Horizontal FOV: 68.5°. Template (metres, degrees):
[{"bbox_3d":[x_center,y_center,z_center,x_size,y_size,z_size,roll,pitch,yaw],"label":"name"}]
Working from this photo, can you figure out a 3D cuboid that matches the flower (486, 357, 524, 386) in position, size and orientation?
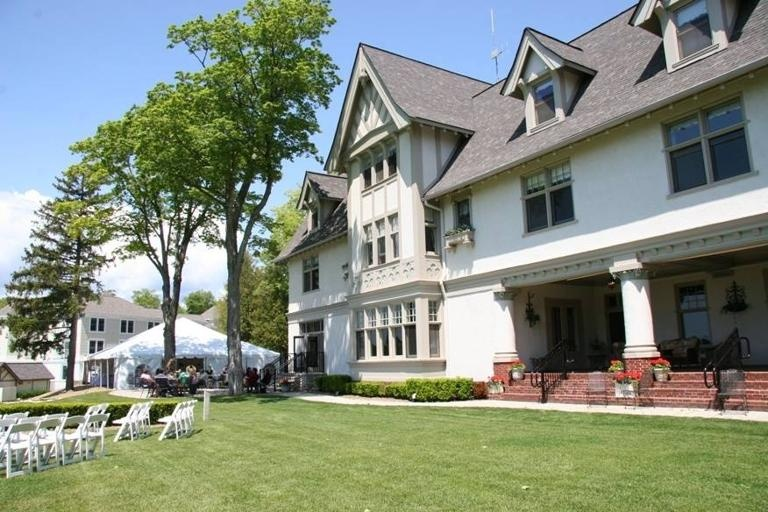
[{"bbox_3d":[5.307,5.124,24.750,1.023,1.445,1.445,16,-21,-40],"label":"flower"}]

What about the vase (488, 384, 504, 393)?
[{"bbox_3d":[4.846,5.851,24.613,0.470,0.339,0.466,14,-21,-36],"label":"vase"}]

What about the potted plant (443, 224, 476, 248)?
[{"bbox_3d":[3.479,-0.851,26.892,0.511,0.889,1.668,12,-20,-39],"label":"potted plant"}]

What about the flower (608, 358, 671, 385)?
[{"bbox_3d":[9.164,4.167,20.372,1.932,0.900,0.582,-9,-17,28],"label":"flower"}]
